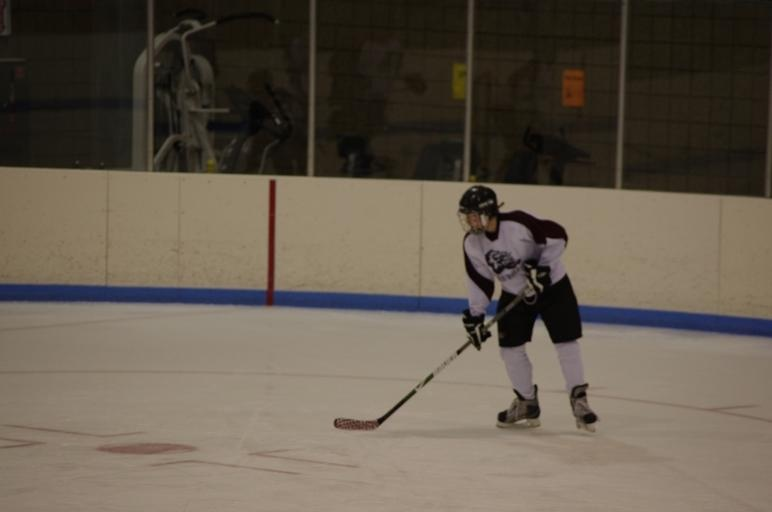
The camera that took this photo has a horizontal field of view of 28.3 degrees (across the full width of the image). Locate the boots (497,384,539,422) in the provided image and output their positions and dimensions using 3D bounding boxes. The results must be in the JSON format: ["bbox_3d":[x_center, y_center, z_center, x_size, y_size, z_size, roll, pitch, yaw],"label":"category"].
[{"bbox_3d":[0.974,1.156,11.756,0.401,0.375,0.180,2,1,4],"label":"boots"}]

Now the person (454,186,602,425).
[{"bbox_3d":[1.017,0.367,11.782,0.894,1.966,0.830,-10,7,-12],"label":"person"}]

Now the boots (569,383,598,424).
[{"bbox_3d":[1.467,1.086,11.519,0.141,0.283,0.412,-9,21,-6],"label":"boots"}]
